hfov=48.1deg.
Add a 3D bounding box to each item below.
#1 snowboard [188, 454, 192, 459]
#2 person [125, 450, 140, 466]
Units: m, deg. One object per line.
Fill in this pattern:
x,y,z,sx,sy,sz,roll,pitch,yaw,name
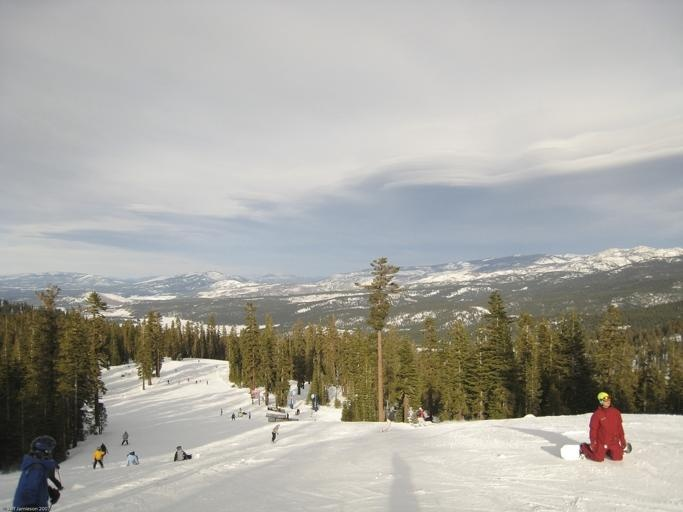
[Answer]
-17.838,23.646,89.810,0.413,0.207,0.580,5,9,2,snowboard
-25.578,24.834,93.531,1.541,0.903,2.076,-12,-39,13,person
